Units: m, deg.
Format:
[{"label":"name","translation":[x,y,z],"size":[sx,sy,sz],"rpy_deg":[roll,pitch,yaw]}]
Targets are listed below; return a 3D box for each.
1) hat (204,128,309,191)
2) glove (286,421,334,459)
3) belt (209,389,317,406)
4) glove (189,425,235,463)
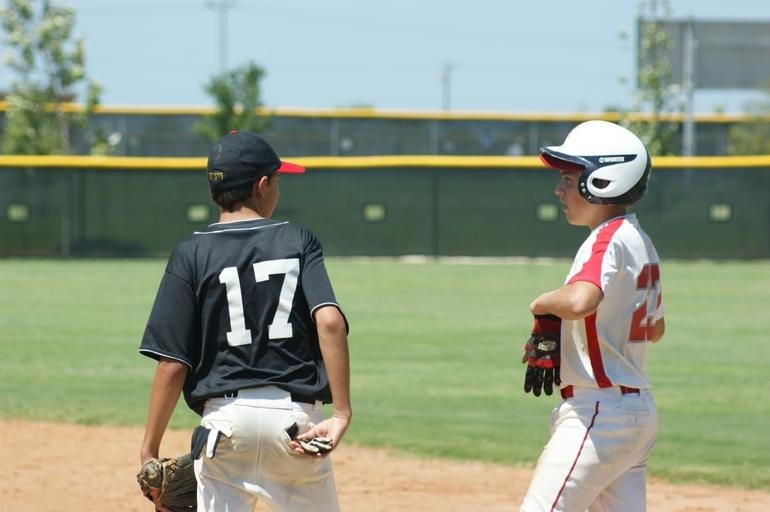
[{"label":"hat","translation":[-1.216,-0.893,14.626],"size":[0.722,0.343,0.445],"rpy_deg":[-10,13,-27]},{"label":"glove","translation":[-0.693,1.707,14.445],"size":[0.426,0.168,0.252],"rpy_deg":[7,4,29]},{"label":"belt","translation":[-1.059,1.295,14.498],"size":[0.952,0.172,0.065],"rpy_deg":[0,7,-3]},{"label":"glove","translation":[-1.606,1.752,14.536],"size":[0.321,0.305,0.138],"rpy_deg":[8,-3,34]}]
